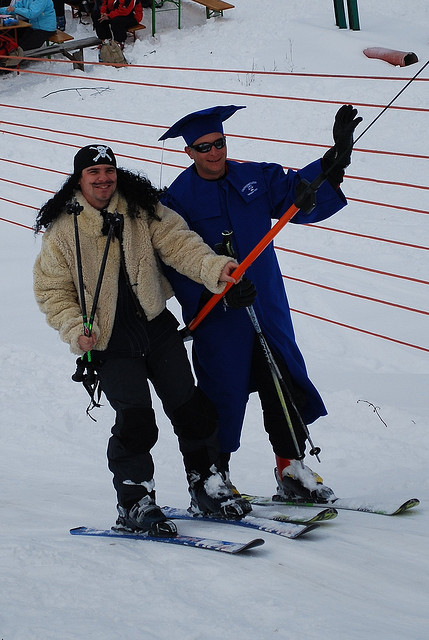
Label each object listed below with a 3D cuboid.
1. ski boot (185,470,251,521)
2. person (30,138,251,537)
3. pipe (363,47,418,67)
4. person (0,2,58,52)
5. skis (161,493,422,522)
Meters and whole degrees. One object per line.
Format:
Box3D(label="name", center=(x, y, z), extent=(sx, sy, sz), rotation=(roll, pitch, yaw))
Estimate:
Box3D(label="ski boot", center=(0.027, 0.632, 2.402), extent=(0.125, 0.211, 0.347), rotation=(8, -13, -32))
Box3D(label="person", center=(-0.262, 0.094, 2.394), extent=(0.693, 1.331, 0.762), rotation=(-4, -3, -5))
Box3D(label="pipe", center=(1.932, -2.945, 7.168), extent=(0.254, 0.158, 0.671), rotation=(0, 18, -37))
Box3D(label="person", center=(-2.391, -3.744, 8.246), extent=(0.577, 0.297, 0.748), rotation=(-6, -13, -13))
Box3D(label="skis", center=(0.300, 0.674, 2.307), extent=(0.896, 0.039, 0.094), rotation=(-7, 8, 39))
